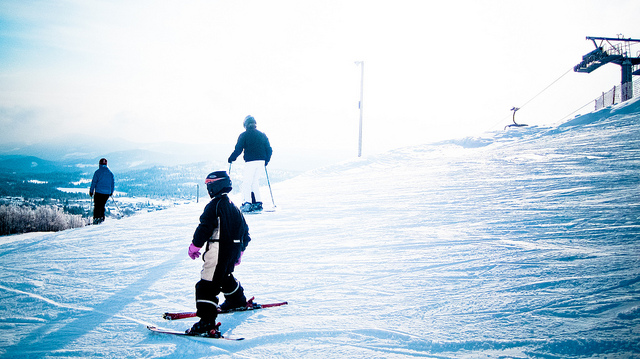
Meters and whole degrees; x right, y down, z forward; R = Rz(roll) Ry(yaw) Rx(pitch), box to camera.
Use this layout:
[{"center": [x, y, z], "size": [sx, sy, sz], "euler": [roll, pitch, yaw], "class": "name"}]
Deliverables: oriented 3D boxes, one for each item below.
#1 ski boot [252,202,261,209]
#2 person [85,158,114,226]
[{"center": [-2.240, 0.874, 17.648], "size": [0.249, 0.200, 0.059], "euler": [2, -12, -8], "class": "ski boot"}, {"center": [-7.765, 0.400, 17.994], "size": [0.798, 2.482, 1.014], "euler": [-3, 0, -19], "class": "person"}]
